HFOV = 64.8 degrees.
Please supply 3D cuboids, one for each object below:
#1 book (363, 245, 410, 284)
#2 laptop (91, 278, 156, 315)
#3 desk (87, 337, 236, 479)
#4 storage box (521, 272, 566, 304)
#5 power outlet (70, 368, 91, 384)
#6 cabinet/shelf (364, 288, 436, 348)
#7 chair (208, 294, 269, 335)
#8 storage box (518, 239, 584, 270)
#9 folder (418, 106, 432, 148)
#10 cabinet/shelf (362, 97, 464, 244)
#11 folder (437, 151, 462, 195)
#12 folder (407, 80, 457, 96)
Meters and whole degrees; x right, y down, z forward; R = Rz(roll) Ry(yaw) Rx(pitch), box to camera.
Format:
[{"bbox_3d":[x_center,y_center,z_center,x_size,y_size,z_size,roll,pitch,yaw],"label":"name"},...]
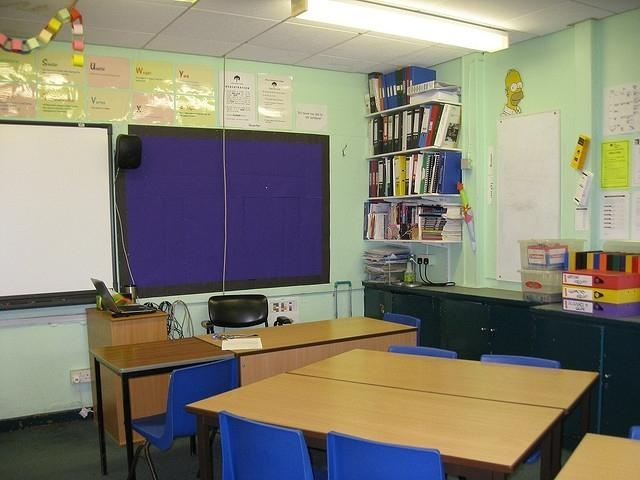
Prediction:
[{"bbox_3d":[0.787,0.276,5.958,0.452,0.213,0.439,-2,5,-42],"label":"book"},{"bbox_3d":[-1.755,0.541,4.498,0.391,0.242,0.411,1,2,-34],"label":"laptop"},{"bbox_3d":[-1.101,1.177,3.512,1.020,0.914,0.746,-2,2,-40],"label":"desk"},{"bbox_3d":[1.990,0.407,4.496,0.242,0.189,0.301,1,-2,-36],"label":"storage box"},{"bbox_3d":[-2.311,1.304,4.853,0.209,0.133,0.048,3,-3,-42],"label":"power outlet"},{"bbox_3d":[0.825,0.762,4.961,0.236,0.430,0.651,0,0,-23],"label":"cabinet/shelf"},{"bbox_3d":[-0.838,0.685,5.120,0.473,0.556,0.399,-1,-1,-14],"label":"chair"},{"bbox_3d":[2.067,0.118,4.559,0.343,0.204,0.338,0,-1,-35],"label":"storage box"},{"bbox_3d":[1.141,-1.243,5.510,0.135,0.433,0.073,-1,7,3],"label":"folder"},{"bbox_3d":[1.078,-0.758,5.900,0.502,1.548,1.640,-2,4,-28],"label":"cabinet/shelf"},{"bbox_3d":[1.413,-0.726,5.464,0.295,0.433,0.073,-6,8,-36],"label":"folder"},{"bbox_3d":[1.276,-1.647,5.461,0.256,0.060,0.263,-5,6,-43],"label":"folder"}]
